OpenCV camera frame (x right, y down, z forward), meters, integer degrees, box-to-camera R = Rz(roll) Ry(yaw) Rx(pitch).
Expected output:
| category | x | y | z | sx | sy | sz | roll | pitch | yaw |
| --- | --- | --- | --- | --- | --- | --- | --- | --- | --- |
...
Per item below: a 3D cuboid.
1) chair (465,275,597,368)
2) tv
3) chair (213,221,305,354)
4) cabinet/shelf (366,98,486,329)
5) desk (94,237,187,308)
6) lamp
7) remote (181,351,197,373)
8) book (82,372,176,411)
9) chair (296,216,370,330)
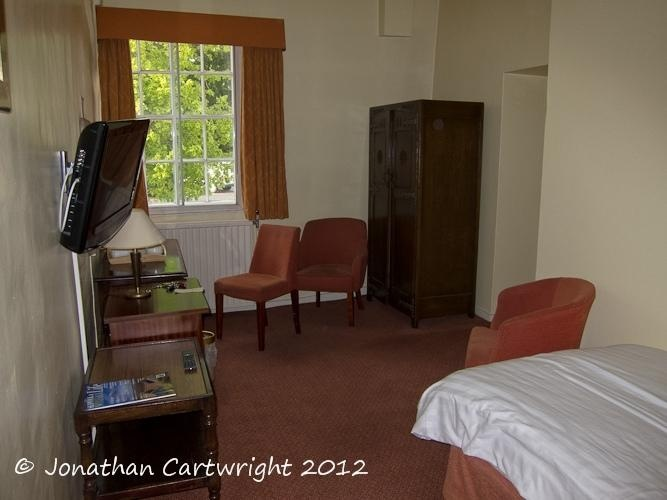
| category | x | y | z | sx | sy | sz | roll | pitch | yaw |
| --- | --- | --- | --- | --- | --- | --- | --- | --- | --- |
| chair | 1.379 | 0.466 | 3.782 | 0.723 | 0.901 | 0.677 | 1 | 5 | -1 |
| tv | -1.112 | -0.357 | 2.568 | 0.153 | 0.582 | 0.883 | 9 | 11 | -10 |
| chair | -0.700 | 0.307 | 5.020 | 0.716 | 1.128 | 0.670 | -5 | 9 | -43 |
| cabinet/shelf | 0.920 | -0.410 | 5.415 | 1.170 | 2.223 | 0.836 | 3 | 14 | 14 |
| desk | -1.508 | 0.151 | 3.956 | 0.414 | 0.382 | 0.808 | -6 | 16 | -18 |
| lamp | -1.396 | 0.026 | 3.661 | 0.351 | 0.651 | 0.397 | -3 | 10 | -20 |
| remote | -0.748 | 0.579 | 2.673 | 0.049 | 0.043 | 0.178 | 0 | 18 | -9 |
| book | -0.954 | 0.660 | 2.423 | 0.409 | 0.032 | 0.211 | -5 | 15 | -18 |
| chair | -0.042 | 0.210 | 5.535 | 0.828 | 1.141 | 0.896 | 1 | 4 | 29 |
